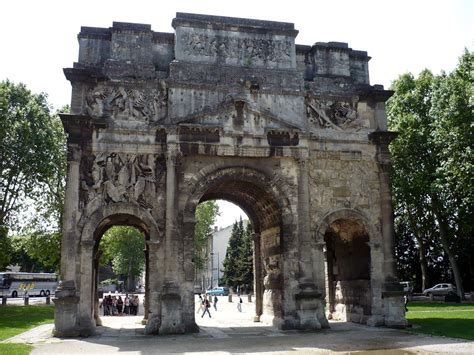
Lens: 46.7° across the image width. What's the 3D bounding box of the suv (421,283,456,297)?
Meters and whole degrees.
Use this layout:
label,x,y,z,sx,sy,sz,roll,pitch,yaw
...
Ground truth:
label,x,y,z,sx,sy,sz,roll,pitch,yaw
suv,20.409,11.240,55.276,2.999,1.135,5.862,-6,-13,22
